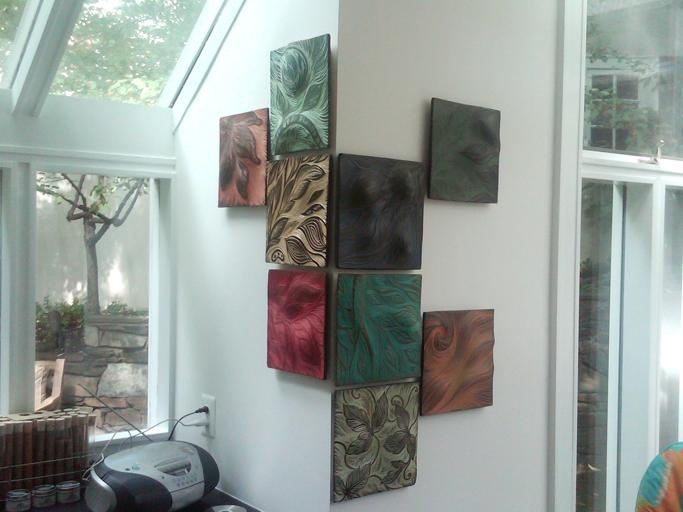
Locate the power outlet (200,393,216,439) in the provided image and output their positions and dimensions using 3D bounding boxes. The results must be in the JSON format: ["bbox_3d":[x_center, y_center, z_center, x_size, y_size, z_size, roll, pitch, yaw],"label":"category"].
[{"bbox_3d":[-0.454,0.561,2.023,0.082,0.127,0.010,0,1,38],"label":"power outlet"}]

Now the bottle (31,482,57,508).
[{"bbox_3d":[-0.945,0.762,1.888,0.058,0.056,0.060,1,0,37],"label":"bottle"}]

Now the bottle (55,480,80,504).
[{"bbox_3d":[-0.880,0.768,1.912,0.058,0.047,0.062,1,-3,0],"label":"bottle"}]
